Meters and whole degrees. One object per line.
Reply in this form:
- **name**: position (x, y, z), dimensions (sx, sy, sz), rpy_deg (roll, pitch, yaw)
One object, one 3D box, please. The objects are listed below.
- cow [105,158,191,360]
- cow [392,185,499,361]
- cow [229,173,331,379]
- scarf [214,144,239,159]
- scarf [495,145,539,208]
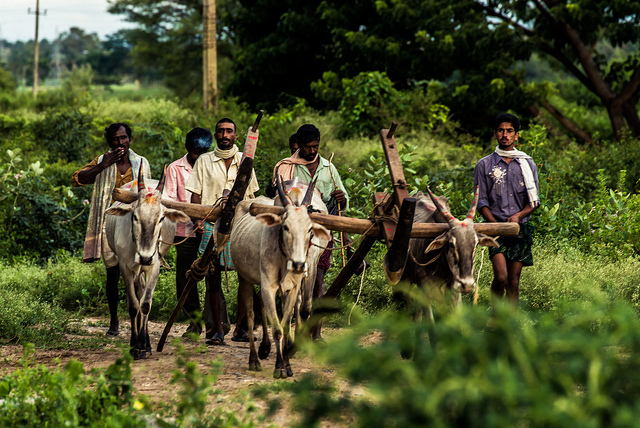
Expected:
- **cow**: position (-3.096, 0.718, 14.091), dimensions (1.192, 3.045, 4.014), rpy_deg (0, 2, -15)
- **cow**: position (1.720, 0.825, 11.559), dimensions (1.360, 2.589, 2.981), rpy_deg (1, 0, 1)
- **cow**: position (-0.712, 1.144, 13.146), dimensions (1.346, 2.768, 4.331), rpy_deg (1, -2, -13)
- **scarf**: position (-1.558, -1.030, 13.714), dimensions (0.372, 0.223, 0.197), rpy_deg (1, 0, -8)
- **scarf**: position (3.147, -0.595, 13.294), dimensions (0.692, 1.056, 0.426), rpy_deg (3, -1, -8)
